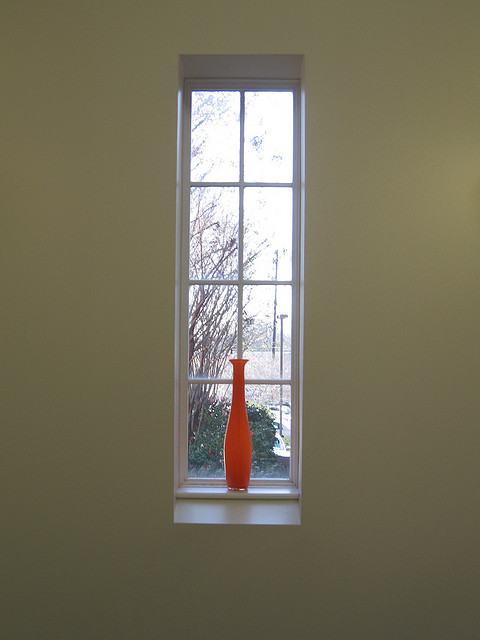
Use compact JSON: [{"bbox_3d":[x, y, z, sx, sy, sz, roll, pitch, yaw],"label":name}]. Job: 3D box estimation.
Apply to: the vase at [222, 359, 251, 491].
[{"bbox_3d":[-0.006,0.353,2.237,0.088,0.410,0.144,1,-10,1],"label":"vase"}]
